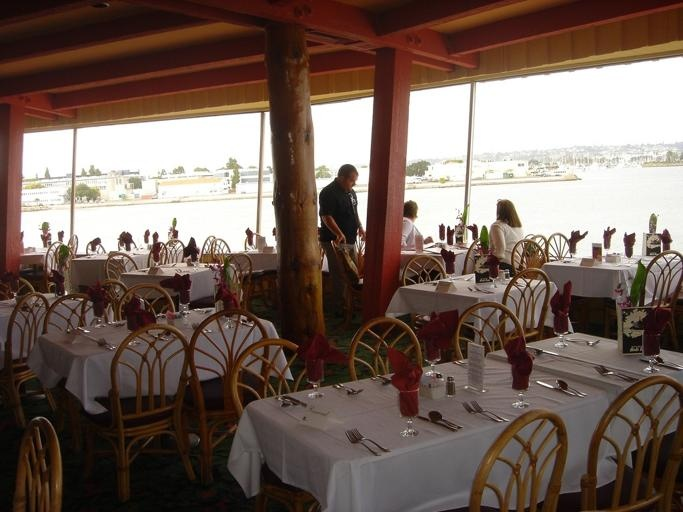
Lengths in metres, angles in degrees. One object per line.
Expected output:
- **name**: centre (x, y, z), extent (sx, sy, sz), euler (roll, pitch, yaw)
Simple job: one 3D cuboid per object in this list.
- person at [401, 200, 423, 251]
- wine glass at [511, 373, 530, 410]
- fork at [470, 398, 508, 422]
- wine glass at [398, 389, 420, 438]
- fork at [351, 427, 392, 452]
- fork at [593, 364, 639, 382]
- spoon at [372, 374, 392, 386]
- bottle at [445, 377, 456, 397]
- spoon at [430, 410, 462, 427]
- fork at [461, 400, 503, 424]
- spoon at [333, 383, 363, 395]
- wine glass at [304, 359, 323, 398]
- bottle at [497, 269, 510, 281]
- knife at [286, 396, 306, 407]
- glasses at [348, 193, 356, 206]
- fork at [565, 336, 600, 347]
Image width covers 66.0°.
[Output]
- **person**: centre (1.075, -0.406, 8.107), extent (0.354, 0.786, 0.507), euler (-8, -10, 41)
- **wine glass**: centre (0.898, 0.650, 2.634), extent (0.079, 0.150, 0.242), euler (1, 6, 20)
- **fork**: centre (0.688, 0.717, 2.477), extent (0.049, 0.029, 0.175), euler (-2, 16, -29)
- **wine glass**: centre (0.303, 0.700, 2.354), extent (0.079, 0.185, 0.093), euler (-1, -7, -7)
- **fork**: centre (0.126, 0.797, 2.267), extent (0.053, 0.051, 0.271), euler (-6, 11, -27)
- **fork**: centre (1.461, 0.623, 2.821), extent (0.056, 0.037, 0.227), euler (-10, 17, -19)
- **spoon**: centre (0.227, 0.678, 2.897), extent (0.093, 0.036, 0.144), euler (-1, 6, -3)
- **bottle**: centre (0.576, 0.667, 2.757), extent (0.047, 0.092, 0.152), euler (0, 5, 15)
- **spoon**: centre (0.471, 0.749, 2.401), extent (0.089, 0.041, 0.165), euler (-4, 6, -27)
- **fork**: centre (0.663, 0.741, 2.486), extent (0.055, 0.027, 0.171), euler (-9, 14, -25)
- **spoon**: centre (0.040, 0.709, 2.808), extent (0.102, 0.017, 0.172), euler (-6, 8, -41)
- **wine glass**: centre (-0.131, 0.616, 2.734), extent (0.077, 0.234, 0.245), euler (-1, 5, -3)
- **bottle**: centre (1.675, 0.199, 5.468), extent (0.104, 0.118, 0.097), euler (3, 6, 22)
- **knife**: centre (-0.223, 0.738, 2.665), extent (0.061, 0.015, 0.164), euler (-6, 7, -41)
- **glasses**: centre (0.157, -0.773, 7.304), extent (0.110, 0.171, 0.055), euler (-10, 1, -44)
- **fork**: centre (1.562, 0.562, 3.439), extent (0.254, 0.051, 0.077), euler (1, 17, 43)
